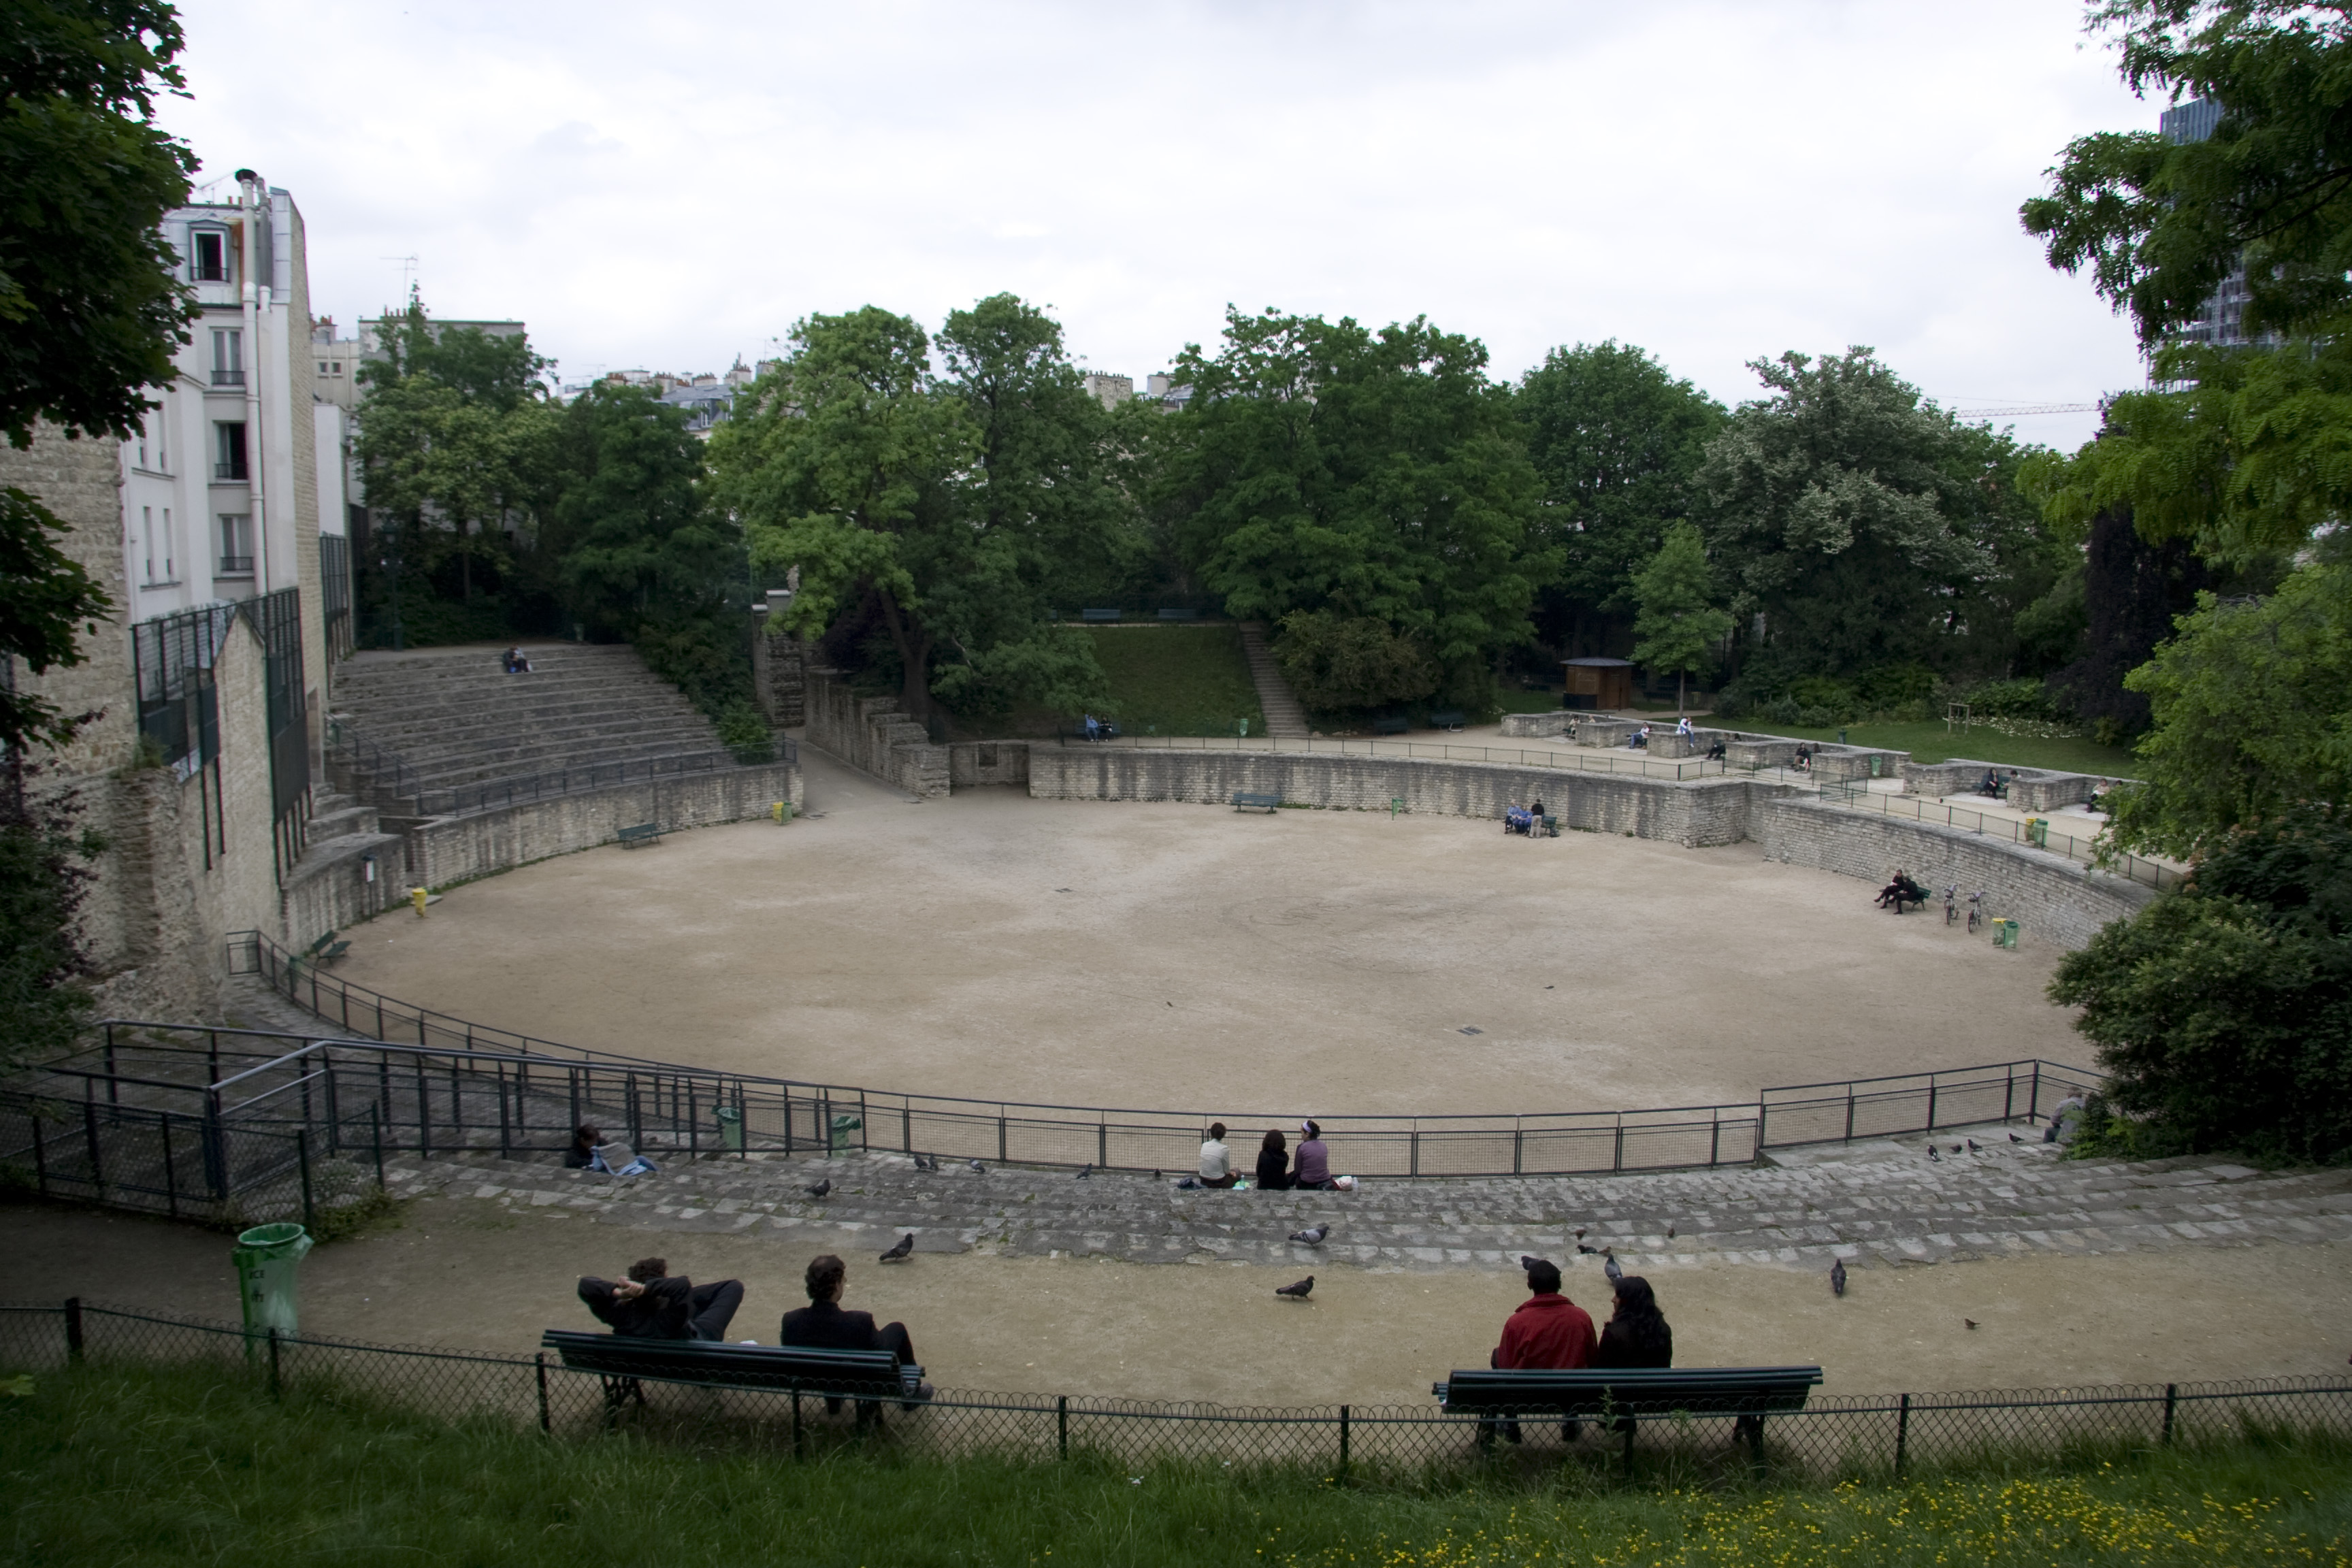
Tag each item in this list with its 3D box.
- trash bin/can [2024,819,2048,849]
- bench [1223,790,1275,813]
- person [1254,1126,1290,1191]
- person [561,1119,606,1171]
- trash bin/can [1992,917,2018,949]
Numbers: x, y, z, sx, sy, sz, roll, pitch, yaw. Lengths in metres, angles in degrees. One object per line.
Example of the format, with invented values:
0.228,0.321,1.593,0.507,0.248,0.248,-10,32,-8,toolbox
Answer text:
22.685,1.258,63.771,0.822,0.705,0.760,-1,0,17,trash bin/can
2.693,0.552,81.755,1.645,0.562,2.135,4,10,1,bench
1.723,6.308,41.282,0.627,1.001,1.777,5,10,2,person
-9.776,5.980,40.076,0.746,0.691,0.737,3,-9,-40,person
20.287,3.599,59.079,0.578,0.563,0.939,1,4,22,trash bin/can
